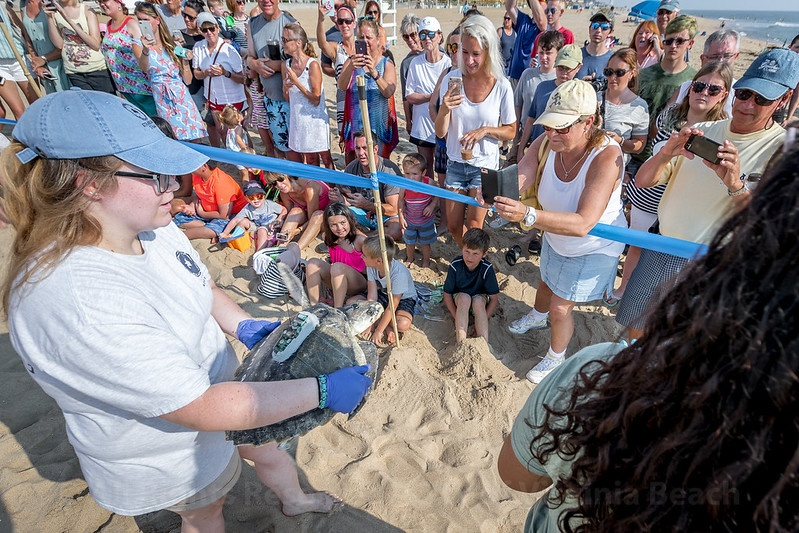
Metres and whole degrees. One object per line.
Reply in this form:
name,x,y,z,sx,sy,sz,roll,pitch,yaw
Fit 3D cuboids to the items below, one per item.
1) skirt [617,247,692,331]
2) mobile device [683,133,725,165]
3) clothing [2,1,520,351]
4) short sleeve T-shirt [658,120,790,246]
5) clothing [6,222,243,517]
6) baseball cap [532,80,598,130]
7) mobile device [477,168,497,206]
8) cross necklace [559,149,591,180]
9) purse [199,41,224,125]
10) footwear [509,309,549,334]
skirt,1.555,0.125,4.027,0.393,0.596,0.183,4,19,0
mobile device,2.016,-0.786,4.460,0.242,0.146,0.247,31,18,25
clothing,-0.586,-0.886,4.920,4.085,0.706,0.113,10,53,-15
short sleeve T-shirt,1.943,-0.516,3.957,0.466,0.684,0.881,-5,4,10
clothing,-1.495,0.609,3.569,0.751,1.321,1.358,-5,42,-7
baseball cap,1.154,-1.107,4.521,0.316,0.279,0.356,22,38,27
mobile device,0.618,-0.559,4.602,0.061,0.272,0.208,-14,36,-24
cross necklace,1.222,-0.729,4.690,0.126,0.225,0.047,29,10,37
purse,-2.295,-2.303,8.051,0.120,1.131,0.349,-9,78,-26
footwear,1.085,0.505,5.837,0.420,0.187,0.159,-18,56,27
